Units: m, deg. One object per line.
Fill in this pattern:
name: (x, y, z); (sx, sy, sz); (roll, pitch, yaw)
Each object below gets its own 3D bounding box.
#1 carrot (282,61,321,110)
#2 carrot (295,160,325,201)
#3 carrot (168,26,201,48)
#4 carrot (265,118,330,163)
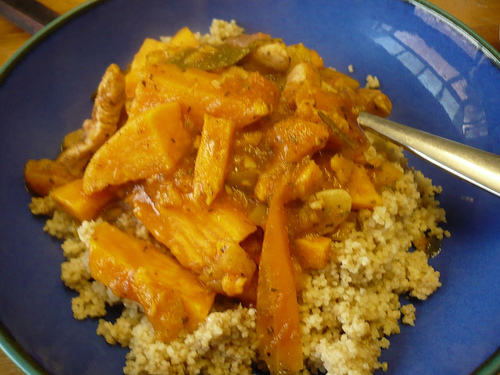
carrot: (0.241, -0.489, 3.192); (0.253, 0.194, 0.076); (39, 88, 5)
carrot: (0.292, -0.032, 3.000); (0.101, 0.081, 0.146); (44, 99, 19)
carrot: (-0.378, -0.871, 3.548); (0.171, 0.066, 0.152); (9, 75, 45)
carrot: (0.233, -0.232, 3.021); (0.315, 0.085, 0.208); (0, 73, 2)
